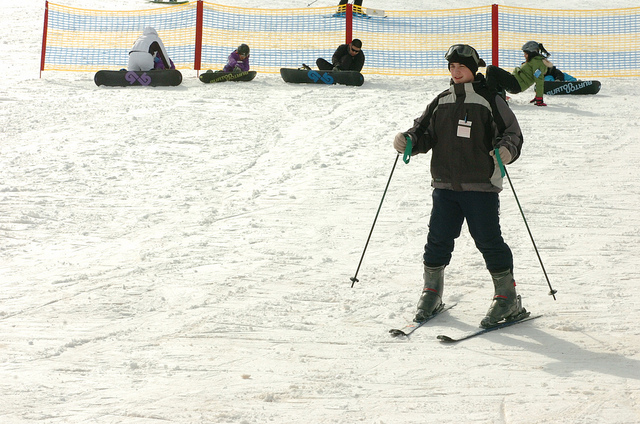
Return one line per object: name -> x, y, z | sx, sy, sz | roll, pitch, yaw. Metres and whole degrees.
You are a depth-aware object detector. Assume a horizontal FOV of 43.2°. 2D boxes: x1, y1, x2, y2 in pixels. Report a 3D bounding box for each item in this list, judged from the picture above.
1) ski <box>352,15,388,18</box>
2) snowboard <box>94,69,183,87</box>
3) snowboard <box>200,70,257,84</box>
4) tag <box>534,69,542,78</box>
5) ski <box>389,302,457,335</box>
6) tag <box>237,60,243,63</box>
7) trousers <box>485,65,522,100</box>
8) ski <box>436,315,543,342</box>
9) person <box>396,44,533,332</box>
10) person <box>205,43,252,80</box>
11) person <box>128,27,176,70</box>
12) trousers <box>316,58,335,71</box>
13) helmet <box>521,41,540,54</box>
ski -> 1.115, -4.509, 18.632 | 0.605, 0.066, 0.029 | 2, -13, 5
snowboard -> -3.659, -2.685, 16.230 | 1.722, 0.344, 0.229 | 2, 8, 3
snowboard -> -1.878, -2.786, 16.750 | 1.110, 0.299, 0.294 | -3, 9, -31
tag -> 3.949, -2.498, 14.587 | 0.109, 0.143, 0.040 | 3, 8, 4
ski -> 1.102, 1.139, 8.570 | 1.022, 0.068, 0.128 | -16, 29, -40
tag -> -1.684, -3.151, 16.955 | 0.106, 0.041, 0.028 | 1, 8, -7
trousers -> 1.922, -1.352, 8.481 | 0.360, 0.335, 0.264 | 3, 8, 8
ski -> 1.809, 1.219, 8.426 | 1.092, 0.068, 0.113 | -9, 17, -28
person -> 1.557, -0.261, 8.485 | 1.411, 2.947, 0.503 | 4, 8, 9
person -> -1.852, -3.167, 17.341 | 0.742, 0.405, 1.428 | -2, -1, -17
person -> -3.479, -3.337, 16.565 | 0.812, 0.884, 0.708 | 2, 8, -1
trousers -> 0.099, -3.048, 16.751 | 0.301, 0.097, 0.270 | 21, -2, -9
helmet -> 3.825, -2.988, 14.609 | 0.309, 0.167, 0.191 | -4, 17, 9
